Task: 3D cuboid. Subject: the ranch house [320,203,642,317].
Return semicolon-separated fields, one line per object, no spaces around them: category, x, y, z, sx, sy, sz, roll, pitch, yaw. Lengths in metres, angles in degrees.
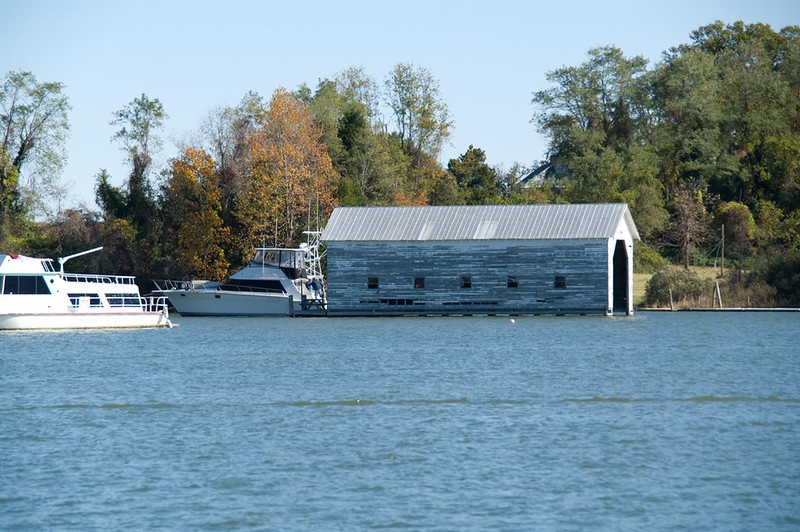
ranch house;5.085;-0.543;82.690;19.586;7.159;5.872;2;11;8

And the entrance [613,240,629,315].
entrance;13.913;0.749;82.444;1.164;4.884;0.251;-1;-15;14
